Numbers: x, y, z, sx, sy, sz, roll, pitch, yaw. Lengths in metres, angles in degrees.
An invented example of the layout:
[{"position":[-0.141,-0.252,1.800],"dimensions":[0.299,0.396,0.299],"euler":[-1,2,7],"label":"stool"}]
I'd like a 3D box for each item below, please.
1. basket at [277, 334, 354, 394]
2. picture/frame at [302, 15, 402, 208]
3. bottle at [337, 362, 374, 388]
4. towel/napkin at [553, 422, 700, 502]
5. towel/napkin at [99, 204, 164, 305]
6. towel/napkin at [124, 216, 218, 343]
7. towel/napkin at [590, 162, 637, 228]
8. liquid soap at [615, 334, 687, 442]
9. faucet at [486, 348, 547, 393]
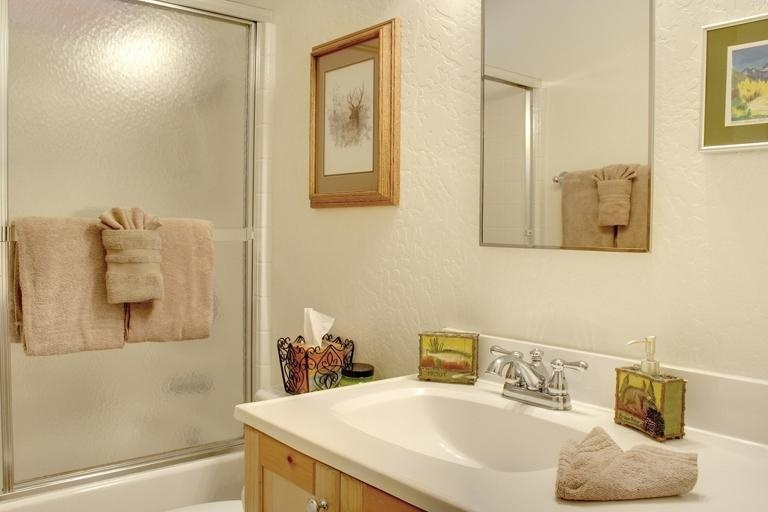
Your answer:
[{"position":[-0.255,0.431,2.164],"dimensions":[0.275,0.185,0.283],"euler":[1,-3,-6],"label":"basket"},{"position":[-0.112,-0.575,2.189],"dimensions":[0.069,0.910,0.779],"euler":[3,-6,-39],"label":"picture/frame"},{"position":[-0.097,0.430,2.019],"dimensions":[0.090,0.087,0.091],"euler":[6,-7,-39],"label":"bottle"},{"position":[0.559,0.469,1.204],"dimensions":[0.277,0.065,0.257],"euler":[-13,-5,-12],"label":"towel/napkin"},{"position":[-0.984,-0.001,2.122],"dimensions":[0.220,0.343,0.187],"euler":[-3,4,-41],"label":"towel/napkin"},{"position":[-0.825,0.090,2.240],"dimensions":[0.350,0.465,0.138],"euler":[-3,3,-44],"label":"towel/napkin"},{"position":[0.653,-0.176,1.556],"dimensions":[0.144,0.150,0.058],"euler":[-1,-3,43],"label":"towel/napkin"},{"position":[0.681,0.333,1.420],"dimensions":[0.094,0.229,0.164],"euler":[0,2,-20],"label":"liquid soap"},{"position":[0.389,0.336,1.627],"dimensions":[0.173,0.108,0.102],"euler":[16,-17,-21],"label":"faucet"}]
